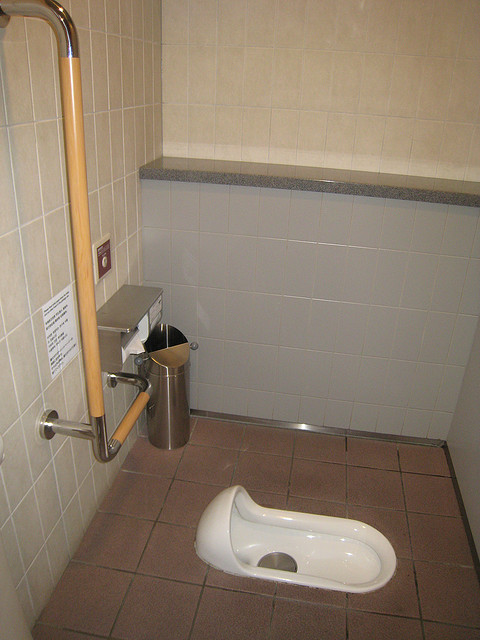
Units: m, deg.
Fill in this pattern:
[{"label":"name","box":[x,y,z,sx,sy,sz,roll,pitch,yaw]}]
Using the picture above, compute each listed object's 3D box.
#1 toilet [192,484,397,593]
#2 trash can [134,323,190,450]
[{"label":"toilet","box":[0.188,0.791,1.530,0.569,0.335,0.353,3,22,11]},{"label":"trash can","box":[-0.332,0.306,2.063,0.147,0.528,0.184,1,22,-2]}]
